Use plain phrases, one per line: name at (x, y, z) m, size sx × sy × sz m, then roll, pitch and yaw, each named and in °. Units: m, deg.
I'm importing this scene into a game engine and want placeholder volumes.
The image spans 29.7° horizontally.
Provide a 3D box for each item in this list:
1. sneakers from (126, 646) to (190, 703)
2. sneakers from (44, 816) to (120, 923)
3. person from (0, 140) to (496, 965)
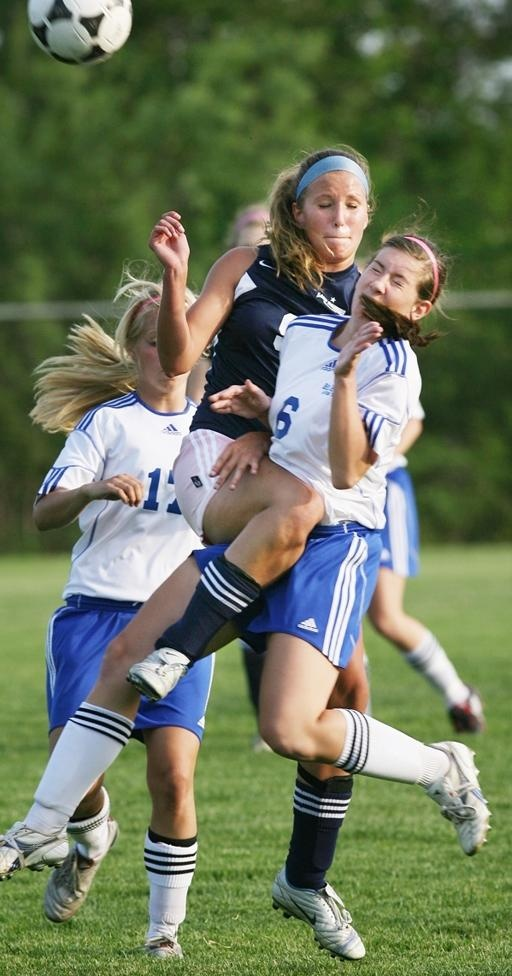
sneakers at (-0.202, 0.377, 1.947) m, size 0.085 × 0.084 × 0.149 m, roll 17°, pitch 23°, yaw 15°
sneakers at (-0.431, 0.960, 2.443) m, size 0.079 × 0.234 × 0.101 m, roll 23°, pitch -10°, yaw 11°
person at (0.135, 0.180, 2.266) m, size 1.015 × 1.780 × 0.941 m, roll 12°, pitch 22°, yaw 2°
